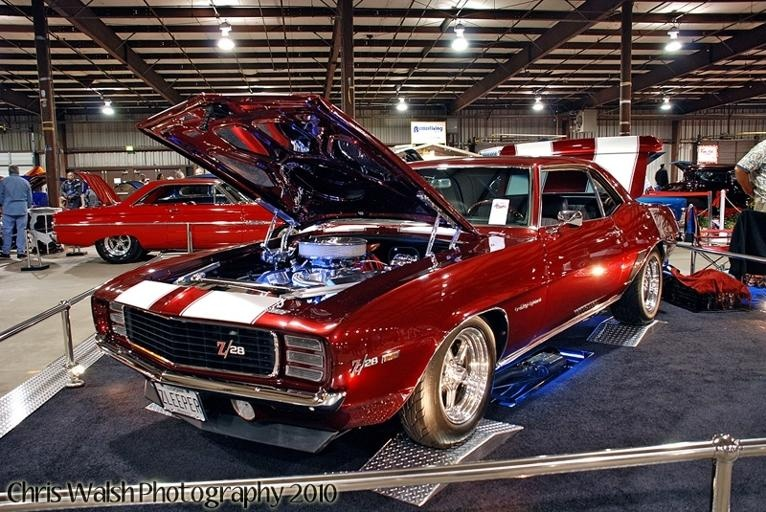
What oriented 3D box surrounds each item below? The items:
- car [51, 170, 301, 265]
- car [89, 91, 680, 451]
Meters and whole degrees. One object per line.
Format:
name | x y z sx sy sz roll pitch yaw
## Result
car | -4.051 -0.732 8.620 5.181 1.379 1.883 -3 7 -10
car | 0.628 -0.075 3.986 4.763 1.474 2.247 -8 9 -44
